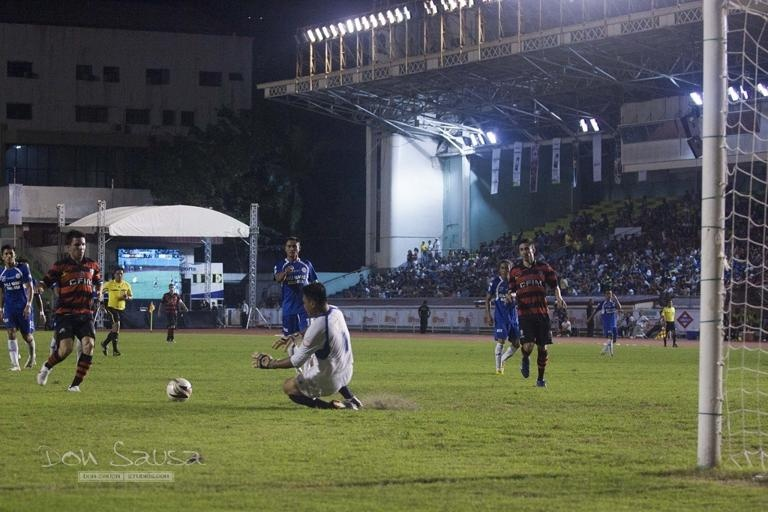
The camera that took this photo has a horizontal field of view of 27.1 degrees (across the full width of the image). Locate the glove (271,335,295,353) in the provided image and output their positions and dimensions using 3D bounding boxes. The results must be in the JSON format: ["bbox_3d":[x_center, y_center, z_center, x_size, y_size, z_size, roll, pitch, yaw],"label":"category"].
[{"bbox_3d":[-4.254,3.741,67.590,0.945,0.574,0.304,-22,-33,-6],"label":"glove"}]
